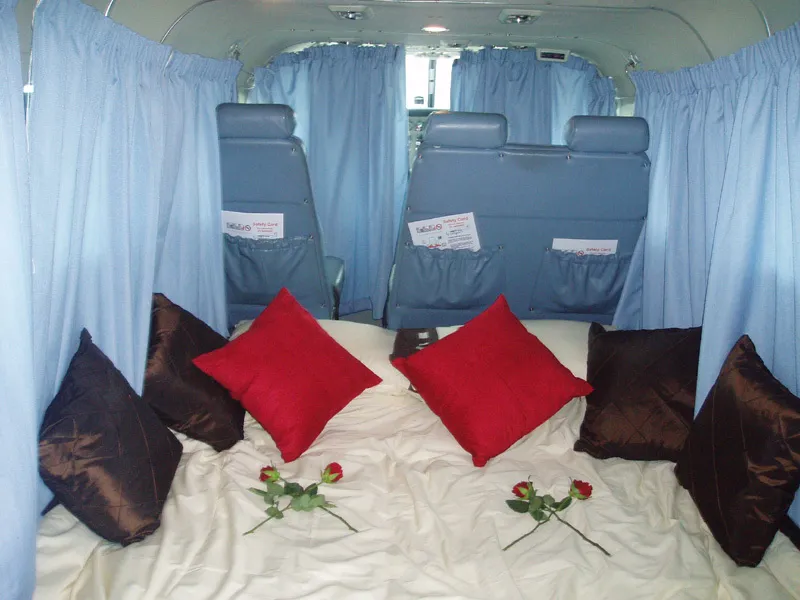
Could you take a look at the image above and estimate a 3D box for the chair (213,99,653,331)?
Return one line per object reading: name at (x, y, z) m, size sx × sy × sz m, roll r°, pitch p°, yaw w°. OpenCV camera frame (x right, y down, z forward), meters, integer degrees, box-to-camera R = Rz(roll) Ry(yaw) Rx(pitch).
chair at (0.137, -0.426, 3.313) m, size 1.323 × 0.959 × 0.696 m, roll 0°, pitch 34°, yaw 0°
